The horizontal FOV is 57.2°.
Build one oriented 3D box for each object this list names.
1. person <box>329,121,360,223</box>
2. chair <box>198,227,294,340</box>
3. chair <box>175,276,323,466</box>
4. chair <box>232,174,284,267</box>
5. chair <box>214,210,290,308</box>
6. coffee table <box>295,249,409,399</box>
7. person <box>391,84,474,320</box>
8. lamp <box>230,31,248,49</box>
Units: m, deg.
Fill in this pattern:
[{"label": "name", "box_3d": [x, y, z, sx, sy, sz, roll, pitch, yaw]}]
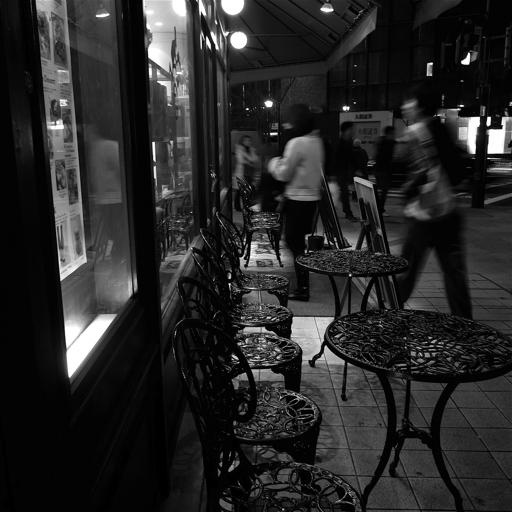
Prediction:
[{"label": "person", "box_3d": [1.698, -1.591, 8.868, 0.454, 1.859, 1.328, 4, 10, 12]}, {"label": "chair", "box_3d": [-0.055, 0.174, 3.561, 0.555, 0.945, 0.509, -4, 30, 1]}, {"label": "chair", "box_3d": [-0.044, 0.499, 2.106, 0.322, 0.582, 0.789, -3, 15, -10]}, {"label": "chair", "box_3d": [0.062, -0.568, 7.167, 0.556, 1.225, 1.432, -1, 16, -1]}, {"label": "chair", "box_3d": [-0.013, 0.000, 4.701, 0.646, 1.130, 0.617, -3, 27, 2]}, {"label": "coffee table", "box_3d": [0.678, 0.338, 3.310, 0.783, 0.969, 0.771, -10, 15, -37]}, {"label": "person", "box_3d": [1.380, -0.439, 3.575, 0.624, 1.720, 0.359, 5, 10, 19]}, {"label": "lamp", "box_3d": [-0.303, -3.675, 7.988, 0.262, 0.291, 0.366, 1, 11, -7]}]
